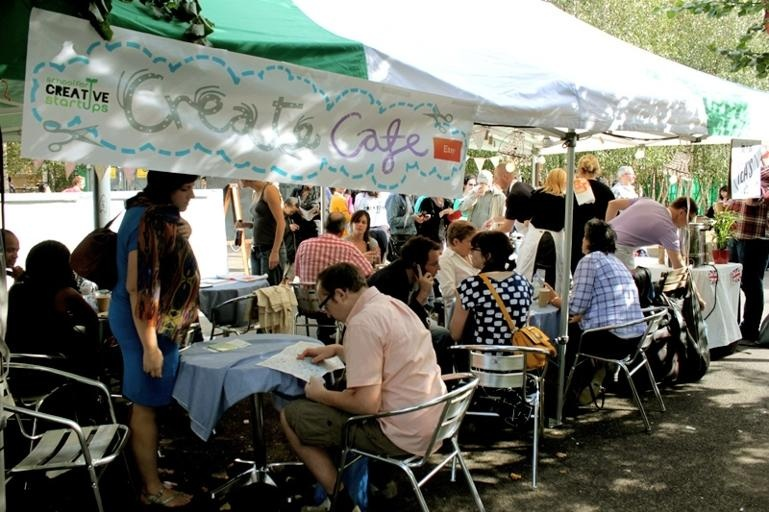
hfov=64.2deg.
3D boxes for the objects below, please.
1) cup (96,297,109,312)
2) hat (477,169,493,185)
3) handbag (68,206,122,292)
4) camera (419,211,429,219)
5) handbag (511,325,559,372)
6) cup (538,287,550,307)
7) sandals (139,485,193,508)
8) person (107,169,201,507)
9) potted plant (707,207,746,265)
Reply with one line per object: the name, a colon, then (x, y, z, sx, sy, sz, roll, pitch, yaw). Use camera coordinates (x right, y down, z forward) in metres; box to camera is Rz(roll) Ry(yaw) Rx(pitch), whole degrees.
cup: (-2.701, 0.462, 5.850, 0.151, 0.121, 0.152, 4, 0, 0)
hat: (1.631, -1.242, 9.820, 0.221, 0.273, 0.256, 2, 22, 4)
handbag: (-2.089, -0.054, 4.441, 0.353, 0.596, 0.437, 21, -13, -38)
camera: (0.654, -0.679, 10.115, 0.106, 0.137, 0.055, -2, 4, -6)
handbag: (1.230, 0.751, 5.124, 0.325, 0.310, 0.267, -3, -22, -43)
cup: (1.597, 0.422, 6.081, 0.145, 0.144, 0.150, 2, -2, 0)
sandals: (-1.584, 1.718, 4.418, 0.284, 0.101, 0.152, 1, 1, -12)
person: (-1.573, 0.623, 4.276, 0.612, 2.400, 0.328, -5, 14, -25)
potted plant: (4.609, -0.234, 8.273, 0.420, 0.602, 0.532, 5, -2, 4)
